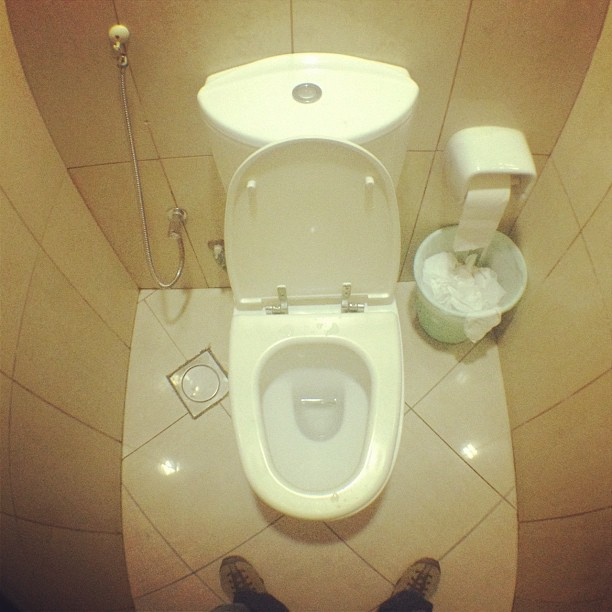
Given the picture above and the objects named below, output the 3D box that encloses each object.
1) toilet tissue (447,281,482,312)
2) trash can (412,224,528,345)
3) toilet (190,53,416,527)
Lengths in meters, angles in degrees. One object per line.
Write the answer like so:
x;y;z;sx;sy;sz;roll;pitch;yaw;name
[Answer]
0.448;-0.029;1.766;0.096;0.079;0.068;0;9;15;toilet tissue
0.462;-0.040;1.809;0.237;0.242;0.376;1;-36;-2;trash can
0.036;0.098;1.517;0.402;0.927;0.868;-3;49;1;toilet
